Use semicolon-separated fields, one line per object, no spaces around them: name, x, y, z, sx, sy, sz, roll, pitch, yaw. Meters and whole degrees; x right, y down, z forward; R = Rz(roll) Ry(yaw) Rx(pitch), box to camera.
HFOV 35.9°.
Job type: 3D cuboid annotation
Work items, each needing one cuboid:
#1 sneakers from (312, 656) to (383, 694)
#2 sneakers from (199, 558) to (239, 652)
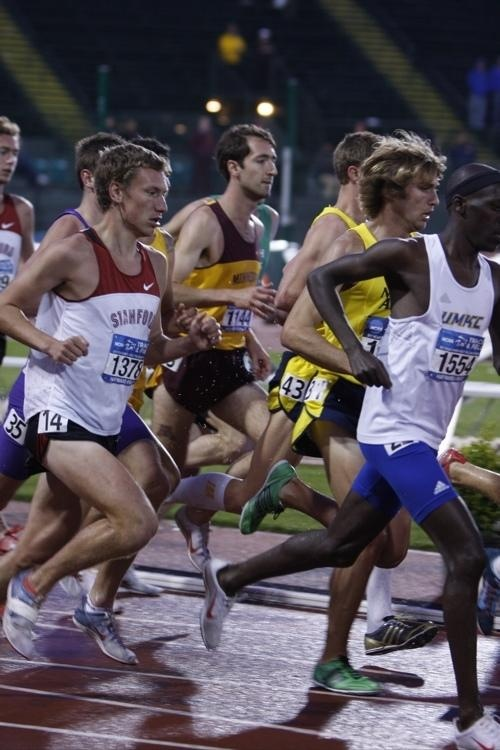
sneakers;0.288;0.931;2.408;0.220;0.082;0.090;1;-5;31
sneakers;-0.123;0.779;2.657;0.151;0.295;0.111;1;7;14
